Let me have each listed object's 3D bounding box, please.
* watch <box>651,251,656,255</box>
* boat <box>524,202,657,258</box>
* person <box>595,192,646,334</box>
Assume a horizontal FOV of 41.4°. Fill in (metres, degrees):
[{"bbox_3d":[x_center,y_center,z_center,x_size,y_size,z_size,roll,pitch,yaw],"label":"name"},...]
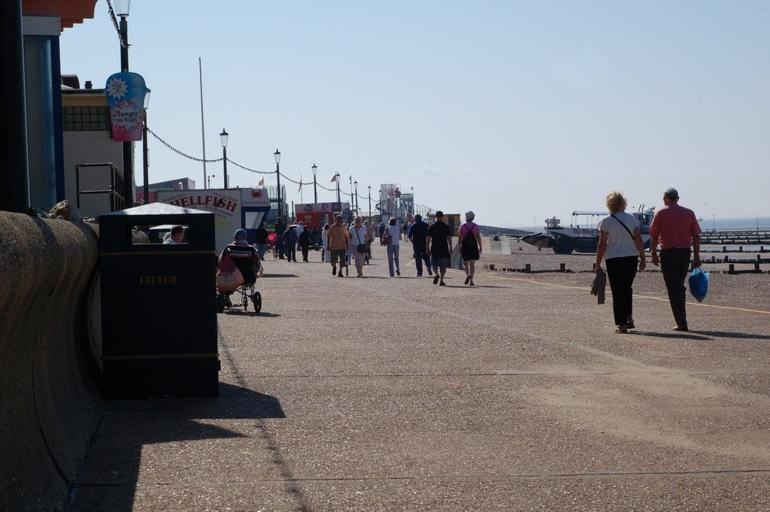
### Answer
[{"bbox_3d":[3.890,-0.047,14.795,0.056,0.058,0.028,11,-16,-20],"label":"watch"},{"bbox_3d":[11.639,-1.363,57.408,7.134,3.046,3.942,2,-9,10],"label":"boat"},{"bbox_3d":[3.372,0.082,14.617,0.667,2.048,0.529,3,-11,-11],"label":"person"}]
